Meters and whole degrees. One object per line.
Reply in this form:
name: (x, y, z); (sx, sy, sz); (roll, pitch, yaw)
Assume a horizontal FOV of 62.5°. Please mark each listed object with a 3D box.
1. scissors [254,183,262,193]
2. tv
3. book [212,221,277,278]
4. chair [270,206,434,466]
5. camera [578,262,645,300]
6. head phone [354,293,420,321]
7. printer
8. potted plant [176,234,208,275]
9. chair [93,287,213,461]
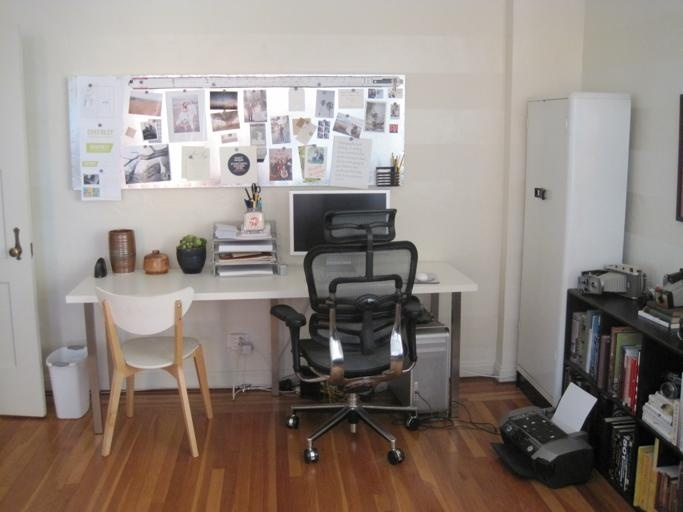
scissors: (-0.568, -0.453, 3.785); (0.050, 0.068, 0.108); (-3, 13, 0)
tv: (-0.008, -0.152, 3.319); (0.507, 0.386, 0.018); (-1, 13, -4)
book: (-0.621, -0.034, 3.665); (0.437, 0.351, 0.319); (-1, 7, -9)
chair: (0.055, 0.432, 3.309); (0.797, 1.432, 0.617); (-2, 13, 4)
camera: (1.551, 0.140, 3.251); (0.273, 0.150, 0.191); (-3, 12, 2)
head phone: (0.251, 0.269, 3.171); (0.466, 0.160, 0.142); (4, 15, -26)
printer: (1.124, 1.065, 3.082); (0.345, 0.211, 0.409); (-9, 17, -13)
potted plant: (-0.998, -0.004, 3.780); (0.182, 0.247, 0.187); (0, 12, -4)
chair: (-1.130, 0.659, 3.489); (0.738, 0.985, 0.764); (-6, 8, -40)
